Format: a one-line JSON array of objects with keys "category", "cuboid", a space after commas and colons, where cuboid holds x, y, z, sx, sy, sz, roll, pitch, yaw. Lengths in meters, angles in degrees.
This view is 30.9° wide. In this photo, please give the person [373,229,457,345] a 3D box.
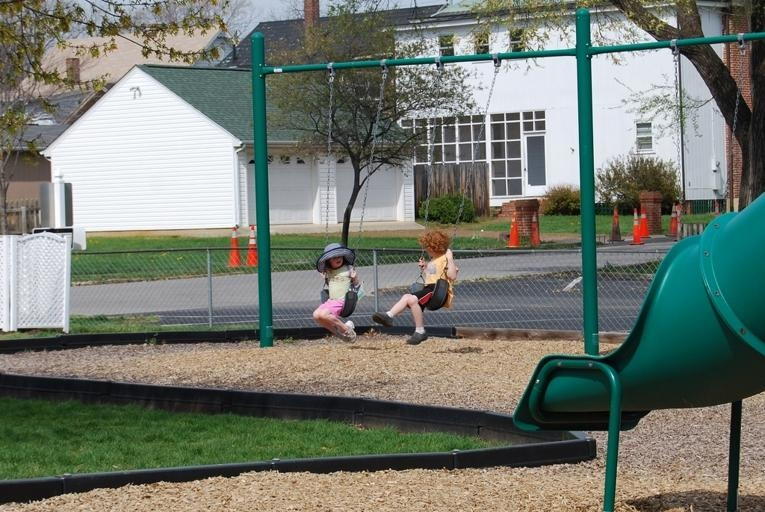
[{"category": "person", "cuboid": [0.515, 0.515, 23.000, 1.415, 1.892, 0.900, -2, 0, -14]}]

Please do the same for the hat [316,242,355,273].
[{"category": "hat", "cuboid": [-0.762, 0.039, 22.653, 0.611, 0.467, 0.577, -2, 3, -1]}]

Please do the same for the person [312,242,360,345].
[{"category": "person", "cuboid": [-0.733, 0.633, 22.662, 0.710, 1.650, 0.934, -1, -7, -34]}]

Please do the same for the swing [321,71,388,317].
[{"category": "swing", "cuboid": [-0.390, -2.808, 36.907, 1.560, 6.789, 1.998, -1, 0, 15]}]

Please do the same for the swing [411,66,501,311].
[{"category": "swing", "cuboid": [1.987, -2.102, 38.346, 2.545, 8.147, 2.072, 0, 2, 0]}]
